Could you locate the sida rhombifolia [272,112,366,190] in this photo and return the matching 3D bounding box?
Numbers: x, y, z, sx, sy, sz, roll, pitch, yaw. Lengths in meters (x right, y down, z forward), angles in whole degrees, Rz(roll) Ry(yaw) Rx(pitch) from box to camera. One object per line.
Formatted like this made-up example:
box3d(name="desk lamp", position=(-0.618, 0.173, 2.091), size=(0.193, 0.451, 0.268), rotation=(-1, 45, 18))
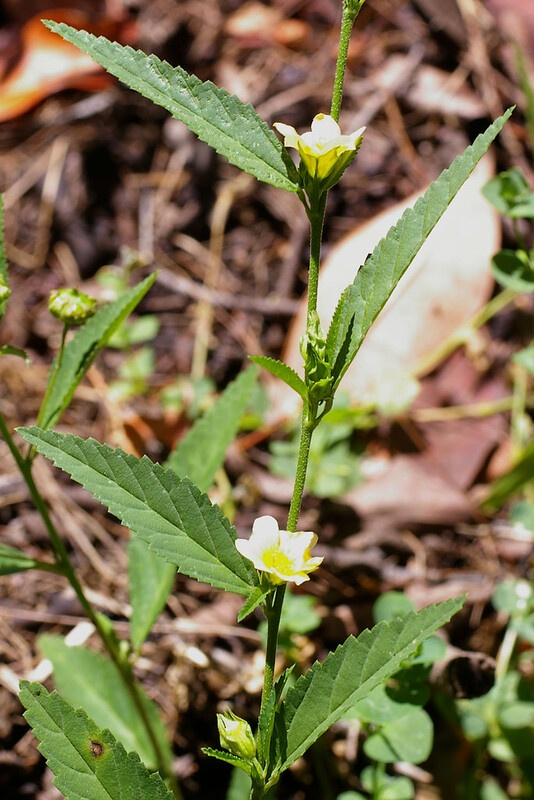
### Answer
box3d(name="sida rhombifolia", position=(0.079, -0.374, 1.134), size=(0.118, 0.095, 0.119), rotation=(-18, 37, -32))
